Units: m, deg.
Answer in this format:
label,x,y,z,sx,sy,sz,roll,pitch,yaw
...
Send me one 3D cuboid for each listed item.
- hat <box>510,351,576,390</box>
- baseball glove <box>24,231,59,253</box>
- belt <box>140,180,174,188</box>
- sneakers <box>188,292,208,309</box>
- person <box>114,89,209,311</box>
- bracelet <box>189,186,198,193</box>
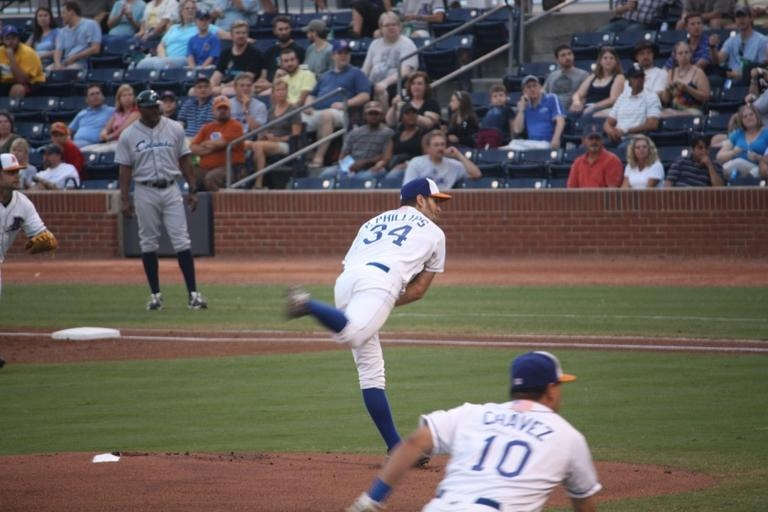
label,x,y,z,sx,sy,sz,roll,pitch,yaw
hat,1.988,1.493,24.765,0.696,0.311,0.430,-5,4,-15
baseball glove,-5.192,-0.166,28.784,0.444,0.224,0.333,-25,13,-10
belt,-3.670,-1.126,30.401,0.569,0.149,0.110,-1,11,-5
sneakers,-3.076,0.755,30.841,0.209,0.229,0.365,-1,-5,-39
person,-3.634,-0.855,30.538,1.302,3.487,0.695,-2,11,-7
bracelet,-3.149,-1.035,30.752,0.145,0.074,0.149,4,6,45
